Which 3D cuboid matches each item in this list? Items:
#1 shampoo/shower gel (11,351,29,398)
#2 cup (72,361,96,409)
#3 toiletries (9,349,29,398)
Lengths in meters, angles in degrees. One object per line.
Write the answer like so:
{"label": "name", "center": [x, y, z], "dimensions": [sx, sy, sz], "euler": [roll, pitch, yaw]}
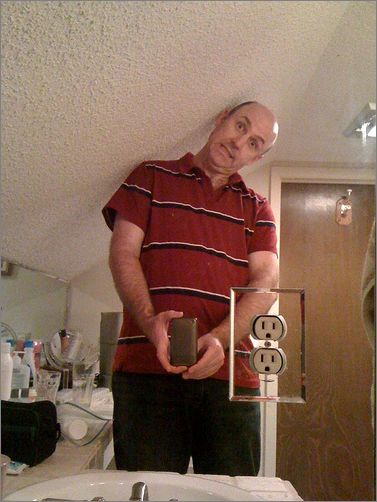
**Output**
{"label": "shampoo/shower gel", "center": [-0.505, 0.369, 1.197], "dimensions": [0.059, 0.131, 0.036], "euler": [8, -30, -32]}
{"label": "cup", "center": [-0.299, 0.371, 1.115], "dimensions": [0.081, 0.130, 0.079], "euler": [-1, -24, -1]}
{"label": "toiletries", "center": [-0.500, 0.363, 1.202], "dimensions": [0.064, 0.145, 0.038], "euler": [11, -22, -29]}
